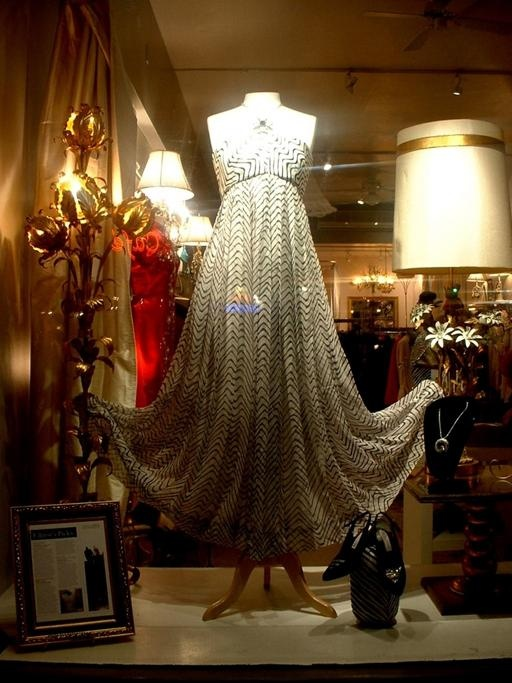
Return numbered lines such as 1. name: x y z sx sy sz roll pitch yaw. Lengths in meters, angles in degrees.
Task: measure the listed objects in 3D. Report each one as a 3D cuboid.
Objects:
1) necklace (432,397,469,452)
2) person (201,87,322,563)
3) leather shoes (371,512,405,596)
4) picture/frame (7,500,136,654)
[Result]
1. necklace: 0.550 0.222 1.694 0.089 0.154 0.030 8 -4 8
2. person: 0.019 -0.092 1.662 0.364 1.277 0.255 -1 -1 6
3. leather shoes: 0.334 0.536 1.592 0.076 0.217 0.067 -2 -12 -14
4. picture/frame: -0.455 0.584 1.494 0.324 0.404 0.041 -4 -25 -22
